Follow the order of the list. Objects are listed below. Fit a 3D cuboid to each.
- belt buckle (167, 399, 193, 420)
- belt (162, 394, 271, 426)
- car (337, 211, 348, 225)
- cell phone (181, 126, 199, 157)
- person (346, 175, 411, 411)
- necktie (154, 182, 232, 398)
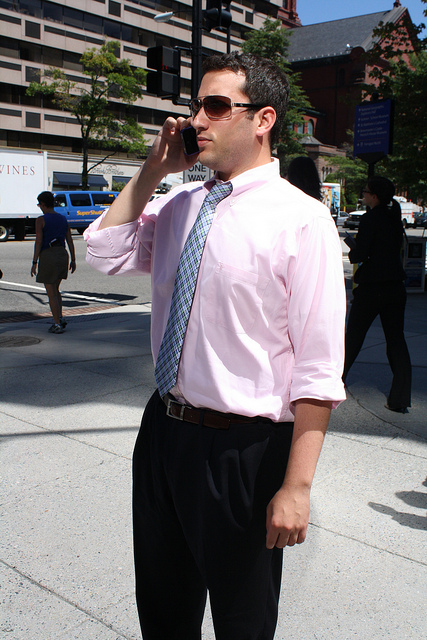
[{"bbox_3d":[-0.082,0.220,1.341,0.053,0.025,0.038,20,13,-15],"label":"belt buckle"},{"bbox_3d":[-0.008,0.226,1.303,0.276,0.047,0.063,4,9,21],"label":"belt"},{"bbox_3d":[12.148,-9.616,51.759,1.374,1.136,2.370,4,23,15],"label":"car"},{"bbox_3d":[-0.060,-0.512,1.551,0.016,0.070,0.070,-7,-25,15],"label":"cell phone"},{"bbox_3d":[1.512,-0.232,4.880,0.602,2.062,0.491,3,9,13],"label":"person"},{"bbox_3d":[-0.052,-0.077,1.384,0.203,0.548,0.148,-4,10,-29],"label":"necktie"}]
